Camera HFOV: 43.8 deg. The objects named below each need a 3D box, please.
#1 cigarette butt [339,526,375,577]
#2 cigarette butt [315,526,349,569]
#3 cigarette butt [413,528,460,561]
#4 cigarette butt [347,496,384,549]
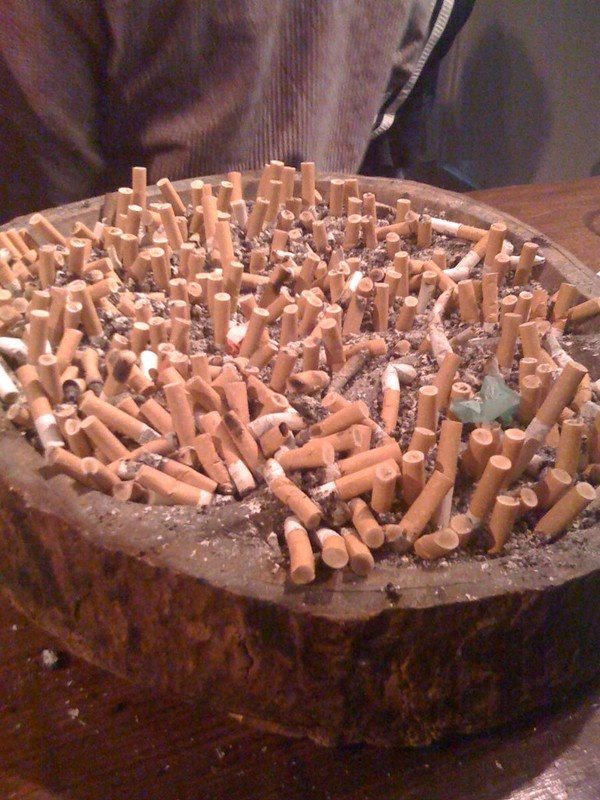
[{"bbox_3d":[0.067,0.171,0.826,0.018,0.017,0.063,-6,16,-4],"label":"cigarette butt"},{"bbox_3d":[0.040,0.168,0.838,0.019,0.018,0.056,-16,8,0],"label":"cigarette butt"},{"bbox_3d":[0.156,0.168,0.862,0.035,0.023,0.021,-35,3,39],"label":"cigarette butt"},{"bbox_3d":[0.076,0.144,0.869,0.023,0.020,0.076,-19,16,0],"label":"cigarette butt"}]
